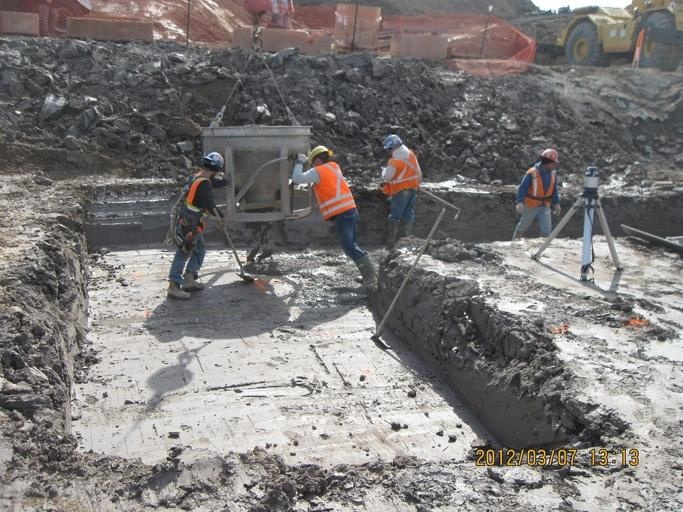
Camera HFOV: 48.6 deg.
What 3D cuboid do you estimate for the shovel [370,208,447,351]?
[{"bbox_3d":[0.776,0.415,9.095,0.201,2.096,0.691,34,30,14],"label":"shovel"}]

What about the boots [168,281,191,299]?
[{"bbox_3d":[-2.037,0.434,9.496,0.309,0.303,0.155,-2,17,-13],"label":"boots"}]

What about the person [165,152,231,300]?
[{"bbox_3d":[-1.790,-0.402,9.512,0.644,1.817,0.619,6,15,11],"label":"person"}]

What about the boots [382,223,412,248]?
[{"bbox_3d":[0.848,-0.350,11.756,0.390,0.492,0.420,-10,15,-44],"label":"boots"}]

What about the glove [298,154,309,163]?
[{"bbox_3d":[-0.489,-1.246,9.680,0.119,0.128,0.122,-6,-3,-32],"label":"glove"}]

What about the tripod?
[{"bbox_3d":[2.974,-0.442,9.182,0.742,1.282,0.838,-6,17,-30],"label":"tripod"}]

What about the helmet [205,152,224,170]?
[{"bbox_3d":[-1.567,-1.164,9.355,0.225,0.241,0.335,2,15,-6],"label":"helmet"}]

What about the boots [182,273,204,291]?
[{"bbox_3d":[-1.912,0.335,9.730,0.288,0.287,0.154,-10,21,-30],"label":"boots"}]

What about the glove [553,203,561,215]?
[{"bbox_3d":[3.171,-0.681,11.180,0.169,0.071,0.237,-3,20,18],"label":"glove"}]

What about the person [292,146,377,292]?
[{"bbox_3d":[-0.066,-0.496,9.898,1.181,1.827,0.546,3,15,-1],"label":"person"}]

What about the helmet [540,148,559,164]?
[{"bbox_3d":[2.939,-1.412,10.727,0.228,0.194,0.227,7,15,13],"label":"helmet"}]
